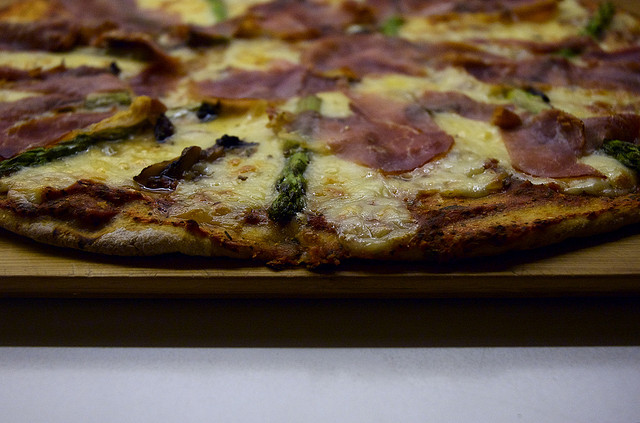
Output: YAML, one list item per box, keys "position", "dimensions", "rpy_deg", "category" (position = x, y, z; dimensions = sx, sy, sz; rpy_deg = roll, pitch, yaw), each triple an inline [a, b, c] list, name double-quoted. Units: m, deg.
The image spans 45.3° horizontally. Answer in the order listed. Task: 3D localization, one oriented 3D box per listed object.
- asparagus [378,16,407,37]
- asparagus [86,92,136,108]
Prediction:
- position: [0.448, -1.184, 4.860]
  dimensions: [0.195, 0.033, 0.201]
  rpy_deg: [-13, 31, -12]
  category: "asparagus"
- position: [-1.082, -0.573, 3.938]
  dimensions: [0.236, 0.098, 0.070]
  rpy_deg: [2, -2, -12]
  category: "asparagus"
